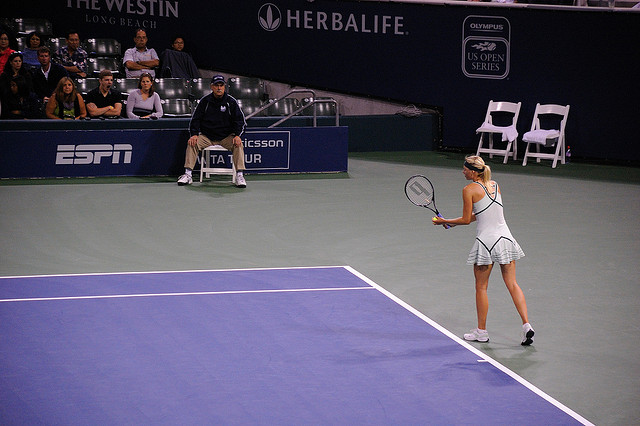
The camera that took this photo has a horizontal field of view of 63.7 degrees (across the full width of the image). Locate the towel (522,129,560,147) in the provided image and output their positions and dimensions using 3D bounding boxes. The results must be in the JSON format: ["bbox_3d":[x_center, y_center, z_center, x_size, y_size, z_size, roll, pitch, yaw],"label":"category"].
[{"bbox_3d":[6.188,-2.081,14.337,1.035,0.433,0.745,-9,17,-34],"label":"towel"}]

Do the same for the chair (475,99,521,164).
[{"bbox_3d":[5.389,-2.492,15.349,1.079,1.720,1.941,6,16,20],"label":"chair"}]

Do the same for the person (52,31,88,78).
[{"bbox_3d":[-6.680,-4.168,13.638,0.879,1.275,0.714,1,20,-17],"label":"person"}]

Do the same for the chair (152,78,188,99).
[{"bbox_3d":[-4.075,-3.364,13.828,0.811,0.490,0.803,-2,11,-21],"label":"chair"}]

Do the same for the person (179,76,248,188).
[{"bbox_3d":[-2.305,-1.776,11.090,1.260,2.230,0.662,0,15,-1],"label":"person"}]

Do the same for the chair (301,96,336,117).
[{"bbox_3d":[-0.136,-3.193,15.358,0.895,0.534,2.393,4,15,15],"label":"chair"}]

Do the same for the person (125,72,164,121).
[{"bbox_3d":[-4.241,-2.789,12.392,0.855,1.205,0.733,0,5,-5],"label":"person"}]

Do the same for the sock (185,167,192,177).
[{"bbox_3d":[-2.842,-0.902,11.115,0.168,0.223,0.146,-1,3,-4],"label":"sock"}]

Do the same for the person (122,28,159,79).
[{"bbox_3d":[-5.102,-4.484,14.507,0.979,1.264,0.659,-5,16,-20],"label":"person"}]

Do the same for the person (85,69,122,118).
[{"bbox_3d":[-5.242,-2.812,12.386,0.801,1.188,0.627,-3,23,-36],"label":"person"}]

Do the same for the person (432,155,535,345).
[{"bbox_3d":[1.533,0.344,4.790,0.897,1.680,0.466,4,15,12],"label":"person"}]

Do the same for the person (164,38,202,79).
[{"bbox_3d":[-4.105,-4.428,14.811,1.139,1.251,1.089,-3,1,-19],"label":"person"}]

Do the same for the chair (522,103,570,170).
[{"bbox_3d":[6.529,-2.282,14.784,1.095,1.661,2.068,7,16,25],"label":"chair"}]

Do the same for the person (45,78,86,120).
[{"bbox_3d":[-5.995,-2.627,12.110,0.864,0.932,0.621,-5,8,-22],"label":"person"}]

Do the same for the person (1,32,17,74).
[{"bbox_3d":[-8.252,-4.231,13.450,0.326,0.985,0.872,-8,17,-28],"label":"person"}]

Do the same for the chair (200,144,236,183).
[{"bbox_3d":[-2.318,-1.053,11.462,0.985,0.912,0.775,0,0,-8],"label":"chair"}]

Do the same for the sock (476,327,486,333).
[{"bbox_3d":[1.499,1.081,4.775,0.078,0.040,0.040,0,15,0],"label":"sock"}]

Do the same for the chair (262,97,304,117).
[{"bbox_3d":[-1.104,-3.029,14.783,1.041,0.414,0.830,-1,5,-5],"label":"chair"}]
